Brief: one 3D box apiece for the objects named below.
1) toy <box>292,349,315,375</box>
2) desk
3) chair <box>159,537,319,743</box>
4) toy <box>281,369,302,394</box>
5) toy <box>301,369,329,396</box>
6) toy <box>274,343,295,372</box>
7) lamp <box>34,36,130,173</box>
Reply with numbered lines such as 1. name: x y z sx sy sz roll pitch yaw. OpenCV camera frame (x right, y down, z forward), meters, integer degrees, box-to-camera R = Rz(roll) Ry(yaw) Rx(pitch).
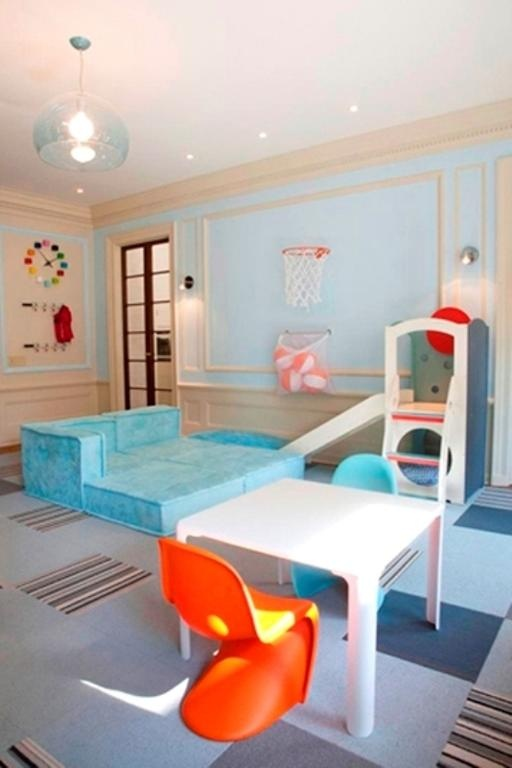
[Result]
1. toy: 0.425 -0.196 4.810 0.214 0.201 0.088 2 5 38
2. desk: 0.271 0.581 1.846 0.664 0.522 0.707 2 4 34
3. chair: -0.040 0.672 1.524 0.339 0.522 0.384 3 6 33
4. toy: 0.322 -0.015 4.917 0.183 0.198 0.186 3 1 -21
5. toy: 0.536 -0.033 4.766 0.216 0.251 0.207 -6 10 6
6. toy: 0.253 -0.241 4.973 0.172 0.227 0.226 -2 10 34
7. lamp: -0.937 -1.493 2.852 0.517 0.567 0.528 3 8 37
